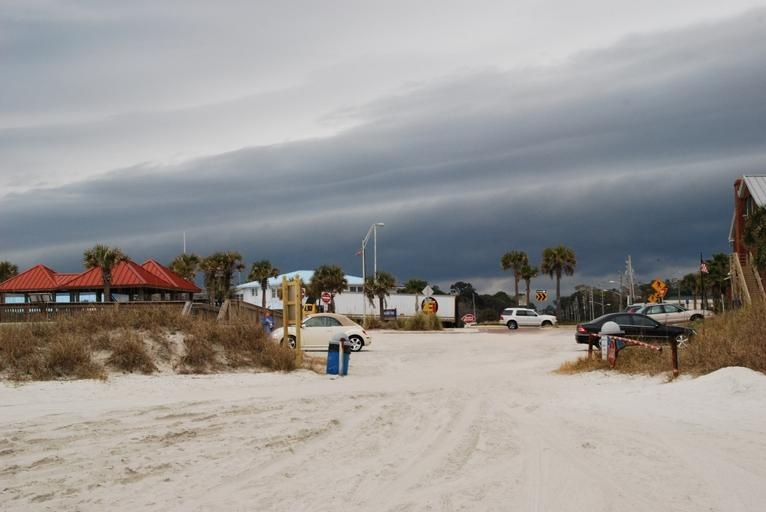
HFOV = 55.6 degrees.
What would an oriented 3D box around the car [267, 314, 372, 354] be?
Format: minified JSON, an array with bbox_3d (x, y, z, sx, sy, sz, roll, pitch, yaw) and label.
[{"bbox_3d":[-2.463,3.357,30.261,4.293,1.865,1.886,-3,7,-38],"label":"car"}]

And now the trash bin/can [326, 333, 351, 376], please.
[{"bbox_3d":[-1.515,3.376,24.427,1.015,1.663,1.073,1,-8,-4],"label":"trash bin/can"}]

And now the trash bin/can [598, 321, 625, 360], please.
[{"bbox_3d":[7.838,2.827,24.641,0.940,1.888,1.068,1,-5,7],"label":"trash bin/can"}]

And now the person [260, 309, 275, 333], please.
[{"bbox_3d":[-5.222,2.940,32.663,0.513,1.466,0.547,0,-36,-11],"label":"person"}]
